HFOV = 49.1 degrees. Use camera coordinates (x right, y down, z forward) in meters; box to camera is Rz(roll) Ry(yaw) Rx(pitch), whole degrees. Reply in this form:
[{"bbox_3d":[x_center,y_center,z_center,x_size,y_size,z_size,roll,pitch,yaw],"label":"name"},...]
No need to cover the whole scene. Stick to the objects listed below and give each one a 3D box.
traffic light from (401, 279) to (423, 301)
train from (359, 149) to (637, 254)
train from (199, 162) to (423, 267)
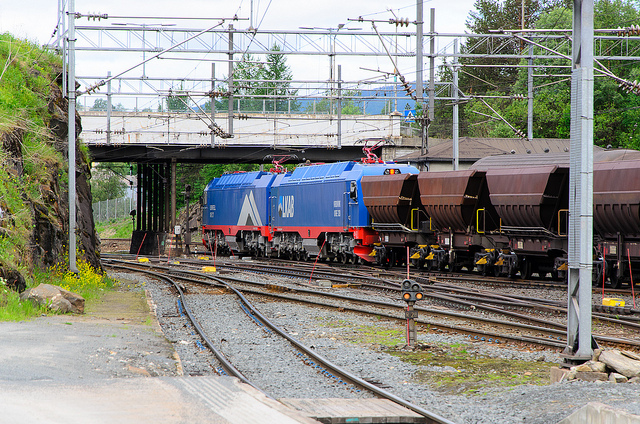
[{"bbox_3d":[2.219,1.907,16.976,0.495,0.533,0.364,-1,2,7],"label":"traffic light"},{"bbox_3d":[7.829,-0.196,31.746,1.968,3.968,13.856,-3,3,-42],"label":"train"},{"bbox_3d":[-1.479,-0.181,47.267,4.883,5.308,20.372,0,0,-37],"label":"train"}]
